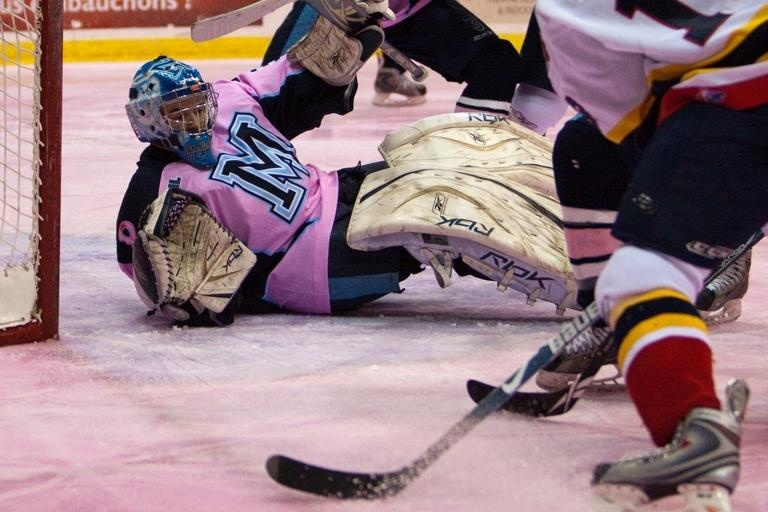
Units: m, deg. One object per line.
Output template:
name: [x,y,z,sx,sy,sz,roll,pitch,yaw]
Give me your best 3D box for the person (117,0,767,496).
person: [0.050,-0.122,2.633,1.580,1.277,0.852,3,-22,6]
